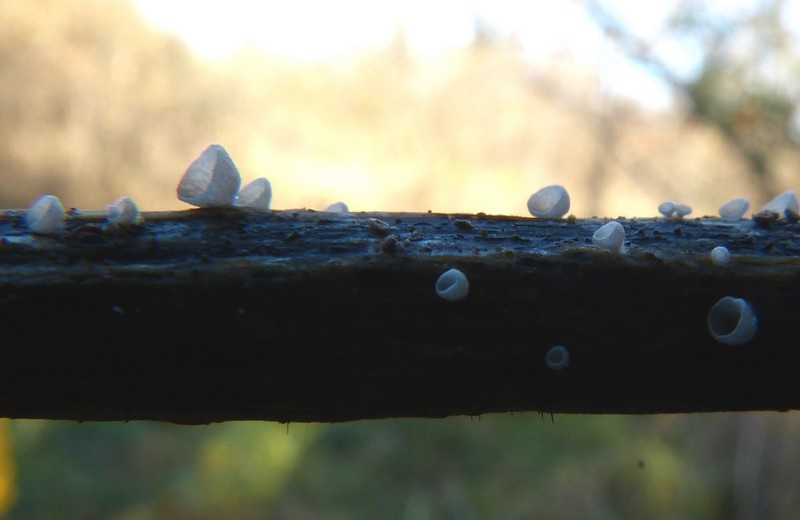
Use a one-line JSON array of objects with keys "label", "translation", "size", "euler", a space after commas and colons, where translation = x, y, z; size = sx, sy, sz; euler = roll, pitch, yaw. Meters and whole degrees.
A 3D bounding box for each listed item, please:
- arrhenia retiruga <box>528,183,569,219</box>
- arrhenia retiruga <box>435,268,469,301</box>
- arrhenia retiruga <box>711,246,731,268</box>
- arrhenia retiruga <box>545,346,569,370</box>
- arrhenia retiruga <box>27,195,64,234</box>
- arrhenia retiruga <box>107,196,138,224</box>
[{"label": "arrhenia retiruga", "translation": [1.579, -0.597, 12.537], "size": [0.356, 0.241, 0.386], "euler": [13, -104, 24]}, {"label": "arrhenia retiruga", "translation": [0.510, 0.275, 11.767], "size": [0.350, 0.109, 0.304], "euler": [-17, -78, 1]}, {"label": "arrhenia retiruga", "translation": [3.259, -0.029, 11.907], "size": [0.216, 0.127, 0.169], "euler": [15, -79, -6]}, {"label": "arrhenia retiruga", "translation": [1.570, 1.003, 11.730], "size": [0.243, 0.058, 0.226], "euler": [-27, -78, 3]}, {"label": "arrhenia retiruga", "translation": [-3.618, -0.442, 11.875], "size": [0.347, 0.089, 0.389], "euler": [7, -93, 8]}, {"label": "arrhenia retiruga", "translation": [-2.854, -0.494, 11.987], "size": [0.329, 0.244, 0.260], "euler": [-10, -77, 0]}]
